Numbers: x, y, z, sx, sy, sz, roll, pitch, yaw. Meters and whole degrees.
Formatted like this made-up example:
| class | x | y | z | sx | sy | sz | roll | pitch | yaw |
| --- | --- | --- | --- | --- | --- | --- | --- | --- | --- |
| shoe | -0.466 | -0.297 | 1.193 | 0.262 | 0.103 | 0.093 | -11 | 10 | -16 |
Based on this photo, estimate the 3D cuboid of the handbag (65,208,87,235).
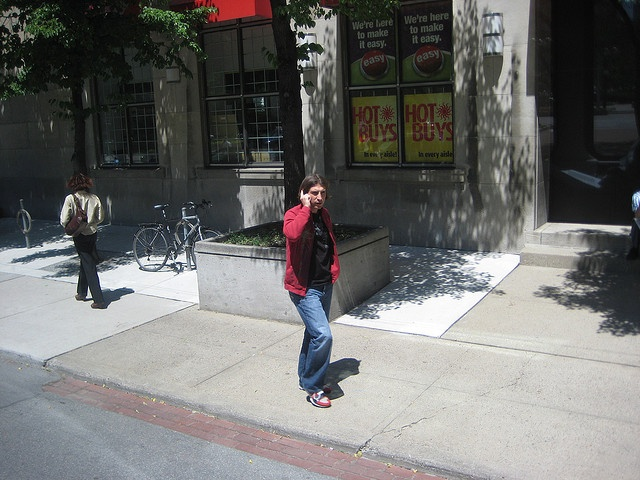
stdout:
| class | x | y | z | sx | sy | sz | roll | pitch | yaw |
| --- | --- | --- | --- | --- | --- | --- | --- | --- | --- |
| handbag | -4.116 | -0.317 | 8.345 | 0.265 | 0.199 | 0.269 | 34 | 66 | 13 |

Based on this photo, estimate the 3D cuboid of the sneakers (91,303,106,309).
| class | x | y | z | sx | sy | sz | roll | pitch | yaw |
| --- | --- | --- | --- | --- | --- | --- | --- | --- | --- |
| sneakers | -3.842 | 1.139 | 8.587 | 0.195 | 0.099 | 0.098 | 7 | 8 | 4 |

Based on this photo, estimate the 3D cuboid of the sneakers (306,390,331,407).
| class | x | y | z | sx | sy | sz | roll | pitch | yaw |
| --- | --- | --- | --- | --- | --- | --- | --- | --- | --- |
| sneakers | -0.011 | 1.708 | 5.380 | 0.120 | 0.105 | 0.216 | -4 | 5 | -43 |

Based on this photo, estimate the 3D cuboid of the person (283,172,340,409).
| class | x | y | z | sx | sy | sz | roll | pitch | yaw |
| --- | --- | --- | --- | --- | --- | --- | --- | --- | --- |
| person | -0.069 | 0.558 | 5.264 | 0.574 | 2.452 | 0.454 | -5 | 10 | -9 |

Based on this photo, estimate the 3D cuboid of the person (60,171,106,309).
| class | x | y | z | sx | sy | sz | roll | pitch | yaw |
| --- | --- | --- | --- | --- | --- | --- | --- | --- | --- |
| person | -4.140 | 0.004 | 8.765 | 0.667 | 2.308 | 0.966 | -8 | 11 | -25 |

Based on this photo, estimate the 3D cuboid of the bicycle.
| class | x | y | z | sx | sy | sz | roll | pitch | yaw |
| --- | --- | --- | --- | --- | --- | --- | --- | --- | --- |
| bicycle | -3.330 | -0.022 | 10.846 | 2.142 | 1.317 | 0.824 | 2 | 12 | 28 |

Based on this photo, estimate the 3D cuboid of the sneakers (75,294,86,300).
| class | x | y | z | sx | sy | sz | roll | pitch | yaw |
| --- | --- | --- | --- | --- | --- | --- | --- | --- | --- |
| sneakers | -4.352 | 1.043 | 9.009 | 0.097 | 0.053 | 0.148 | 8 | 0 | -19 |
